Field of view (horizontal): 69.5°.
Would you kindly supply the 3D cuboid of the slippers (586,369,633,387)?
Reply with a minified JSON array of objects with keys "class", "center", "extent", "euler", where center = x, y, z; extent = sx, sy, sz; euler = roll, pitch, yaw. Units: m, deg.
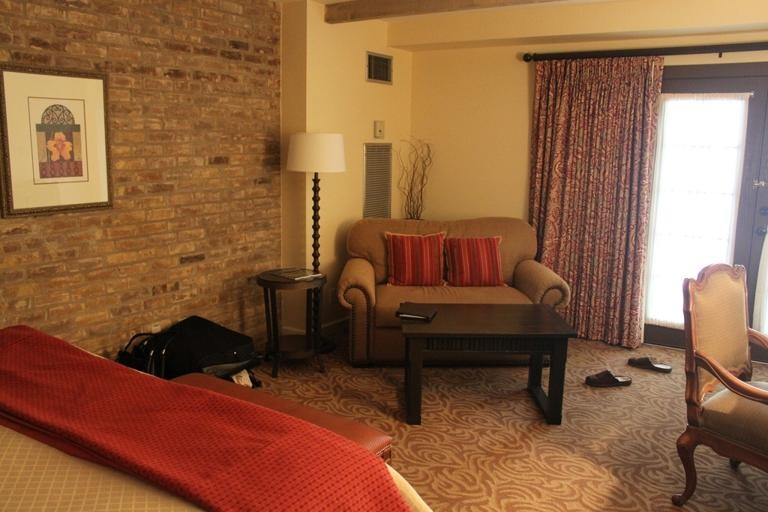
[{"class":"slippers","center":[1.919,1.044,4.730],"extent":[0.322,0.091,0.161],"euler":[0,2,-6]}]

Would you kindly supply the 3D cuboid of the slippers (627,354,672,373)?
[{"class":"slippers","center":[2.430,0.997,5.044],"extent":[0.363,0.107,0.136],"euler":[4,11,22]}]

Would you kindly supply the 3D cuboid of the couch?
[{"class":"couch","center":[0.597,0.284,5.320],"extent":[2.131,1.100,1.056],"euler":[0,19,-8]}]

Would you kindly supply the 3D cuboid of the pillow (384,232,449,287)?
[{"class":"pillow","center":[0.331,0.035,5.395],"extent":[0.627,0.457,0.214],"euler":[-1,9,4]}]

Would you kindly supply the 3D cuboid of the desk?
[{"class":"desk","center":[0.765,0.890,4.424],"extent":[1.261,0.604,0.880],"euler":[1,0,3]}]
